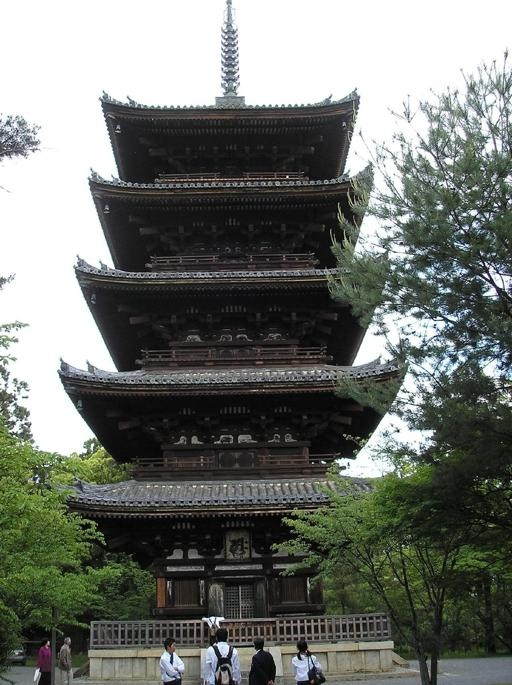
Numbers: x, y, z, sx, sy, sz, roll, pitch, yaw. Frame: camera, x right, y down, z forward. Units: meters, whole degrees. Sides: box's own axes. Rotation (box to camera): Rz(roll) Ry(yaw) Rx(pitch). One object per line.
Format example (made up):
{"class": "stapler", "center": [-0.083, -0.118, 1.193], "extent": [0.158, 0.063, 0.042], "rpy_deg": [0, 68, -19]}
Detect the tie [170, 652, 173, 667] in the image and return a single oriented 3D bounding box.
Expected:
{"class": "tie", "center": [-1.262, 4.722, 11.593], "extent": [0.020, 0.162, 0.065], "rpy_deg": [-14, -31, 16]}
